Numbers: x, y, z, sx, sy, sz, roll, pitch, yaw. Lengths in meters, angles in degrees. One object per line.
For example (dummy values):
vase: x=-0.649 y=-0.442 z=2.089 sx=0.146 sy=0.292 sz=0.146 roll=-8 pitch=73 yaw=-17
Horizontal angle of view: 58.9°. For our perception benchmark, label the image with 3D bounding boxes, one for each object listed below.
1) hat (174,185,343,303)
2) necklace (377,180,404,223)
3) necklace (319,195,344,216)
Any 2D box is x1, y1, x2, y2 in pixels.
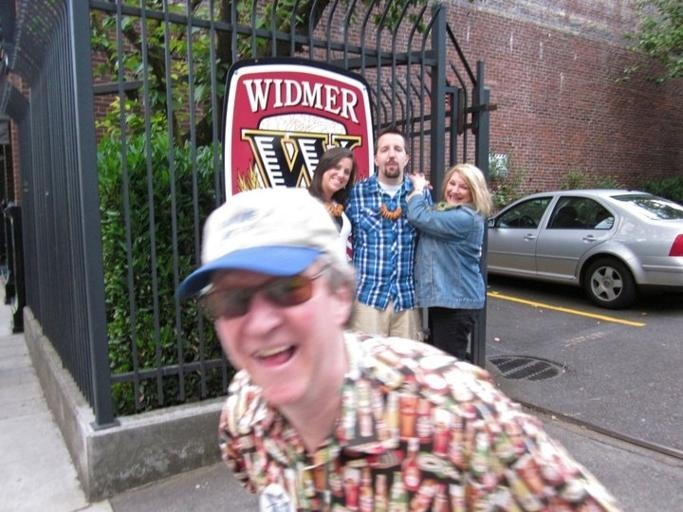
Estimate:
hat: x=-0.329 y=-0.052 z=2.489 sx=0.554 sy=0.447 sz=0.785 roll=-9 pitch=-8 yaw=8
necklace: x=0.389 y=-0.430 z=4.701 sx=0.212 sy=0.263 sz=0.070 roll=-6 pitch=0 yaw=-30
necklace: x=-0.068 y=-0.372 z=4.678 sx=0.156 sy=0.068 sz=0.154 roll=51 pitch=24 yaw=22
